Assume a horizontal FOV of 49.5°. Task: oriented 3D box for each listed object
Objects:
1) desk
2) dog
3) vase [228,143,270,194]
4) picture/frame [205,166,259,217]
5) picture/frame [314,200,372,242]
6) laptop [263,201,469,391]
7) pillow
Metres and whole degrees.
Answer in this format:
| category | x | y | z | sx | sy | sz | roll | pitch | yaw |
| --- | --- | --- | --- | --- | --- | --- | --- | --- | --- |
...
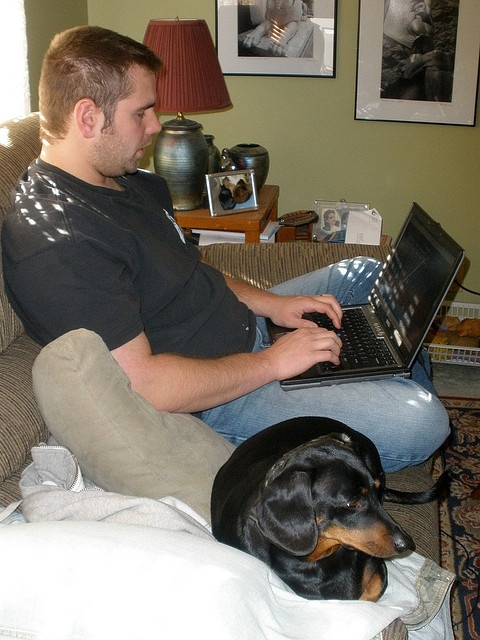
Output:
| category | x | y | z | sx | sy | sz | roll | pitch | yaw |
| --- | --- | --- | --- | --- | --- | --- | --- | --- | --- |
| desk | -0.082 | -0.463 | 2.275 | 0.368 | 0.175 | 0.269 | 4 | 44 | 9 |
| dog | 0.086 | 0.244 | 0.751 | 0.256 | 0.187 | 0.379 | 3 | 10 | -1 |
| vase | 0.049 | -0.728 | 2.475 | 0.187 | 0.191 | 0.176 | -8 | 30 | -8 |
| picture/frame | -0.039 | -0.564 | 2.316 | 0.240 | 0.178 | 0.039 | -12 | 6 | -25 |
| picture/frame | 0.473 | -0.457 | 2.430 | 0.257 | 0.227 | 0.051 | 8 | -1 | 14 |
| laptop | 0.279 | 0.013 | 1.383 | 0.520 | 0.393 | 0.556 | -1 | 29 | 2 |
| pillow | -0.112 | 0.139 | 0.787 | 0.113 | 0.277 | 0.277 | -43 | 49 | -15 |
